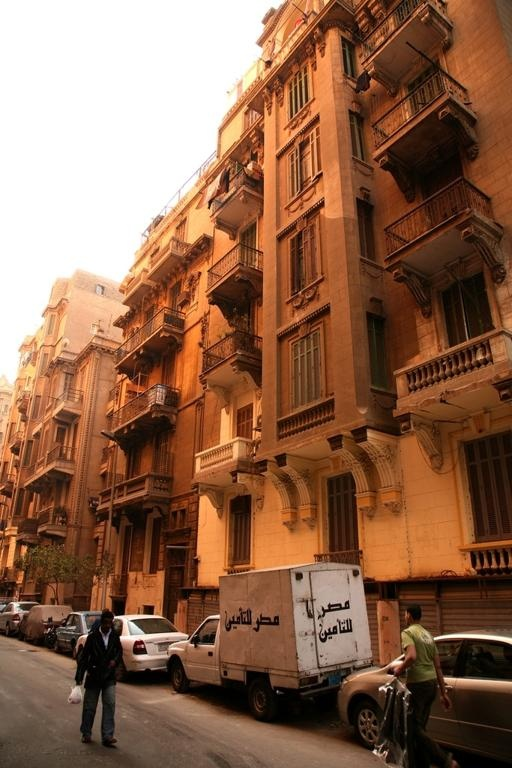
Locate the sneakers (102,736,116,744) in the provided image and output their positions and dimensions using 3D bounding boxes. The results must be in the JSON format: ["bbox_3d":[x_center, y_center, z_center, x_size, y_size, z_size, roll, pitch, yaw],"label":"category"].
[{"bbox_3d":[-1.682,4.131,5.696,0.207,0.095,0.064,-33,-47,23],"label":"sneakers"}]

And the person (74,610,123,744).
[{"bbox_3d":[-1.913,3.589,6.084,0.493,1.474,0.433,1,-9,0],"label":"person"}]

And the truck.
[{"bbox_3d":[-0.028,4.730,9.143,1.714,2.232,3.818,18,-30,-35],"label":"truck"}]
